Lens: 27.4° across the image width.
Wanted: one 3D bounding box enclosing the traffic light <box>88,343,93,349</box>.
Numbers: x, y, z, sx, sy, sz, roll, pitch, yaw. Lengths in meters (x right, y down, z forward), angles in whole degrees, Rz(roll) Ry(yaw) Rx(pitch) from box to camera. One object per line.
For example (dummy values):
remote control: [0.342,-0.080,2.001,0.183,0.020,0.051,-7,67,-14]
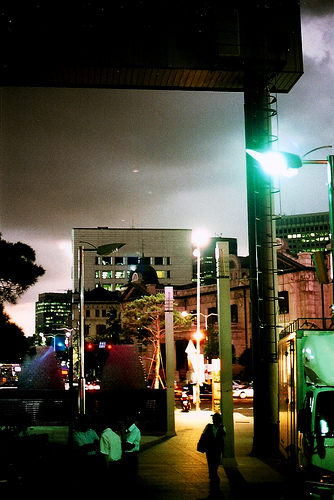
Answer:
traffic light: [-3.773,4.733,33.467,0.186,0.204,0.200,-22,-21,21]
